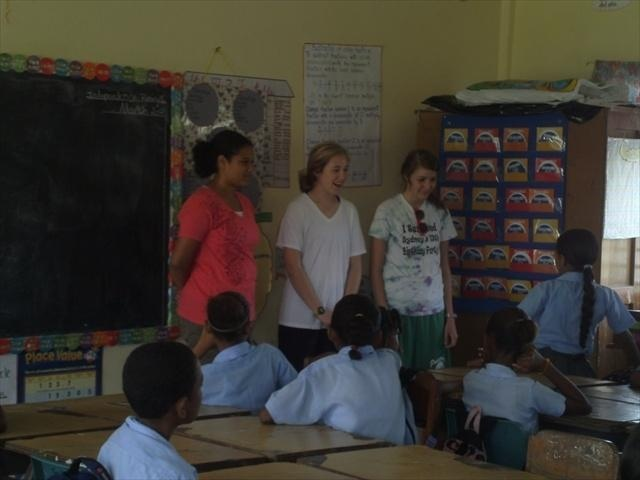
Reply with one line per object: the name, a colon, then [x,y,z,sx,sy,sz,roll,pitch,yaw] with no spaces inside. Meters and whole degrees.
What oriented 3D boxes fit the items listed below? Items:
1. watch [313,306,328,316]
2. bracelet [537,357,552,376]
watch: [0.001,0.384,3.135,0.046,0.045,0.016,-32,-23,-18]
bracelet: [1.011,0.570,2.623,0.030,0.060,0.046,31,-32,-34]
